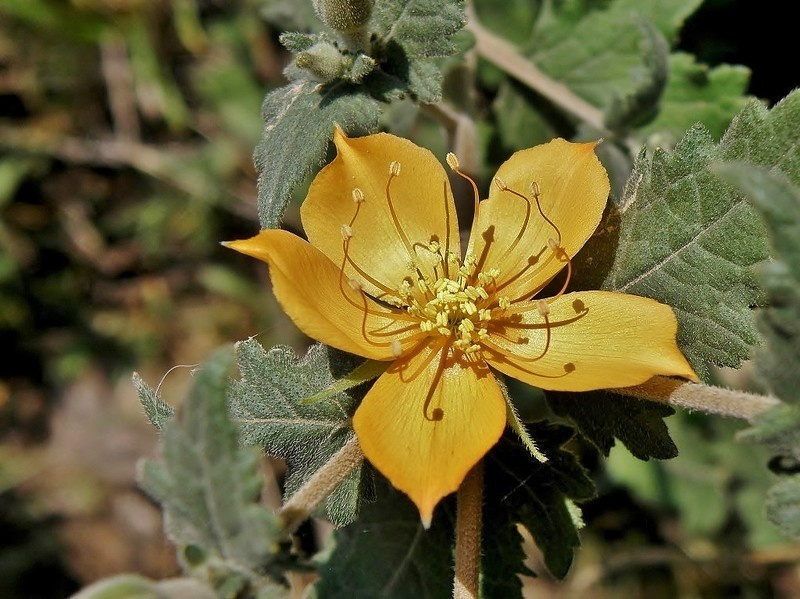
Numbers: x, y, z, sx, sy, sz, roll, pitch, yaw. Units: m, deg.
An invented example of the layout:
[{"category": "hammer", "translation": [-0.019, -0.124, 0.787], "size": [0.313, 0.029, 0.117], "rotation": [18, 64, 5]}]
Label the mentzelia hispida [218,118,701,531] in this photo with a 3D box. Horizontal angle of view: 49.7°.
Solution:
[{"category": "mentzelia hispida", "translation": [0.136, -0.063, 2.502], "size": [1.062, 0.372, 1.108], "rotation": [-22, 72, -14]}]

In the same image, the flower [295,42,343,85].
[{"category": "flower", "translation": [-0.250, -0.713, 2.630], "size": [0.123, 0.105, 0.062], "rotation": [-3, 45, -24]}]
